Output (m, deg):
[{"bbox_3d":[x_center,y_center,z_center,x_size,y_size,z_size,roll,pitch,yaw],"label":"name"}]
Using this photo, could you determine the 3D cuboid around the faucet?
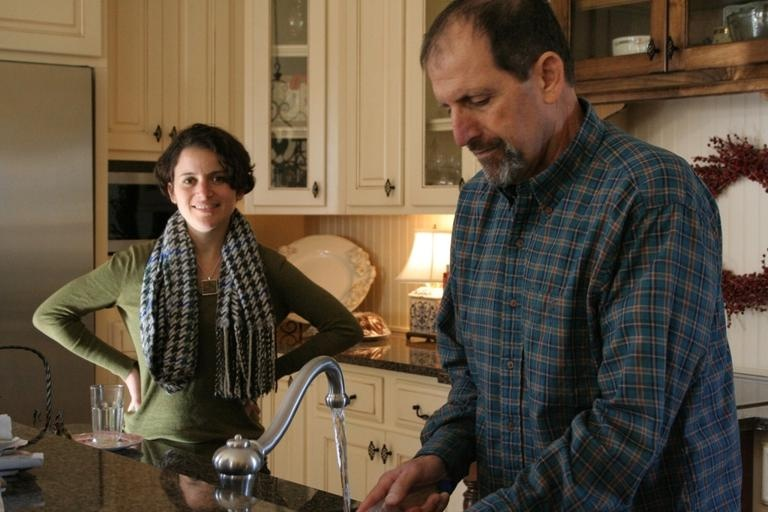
[{"bbox_3d":[-0.205,0.350,1.486,0.281,0.294,0.186,-2,4,-20],"label":"faucet"}]

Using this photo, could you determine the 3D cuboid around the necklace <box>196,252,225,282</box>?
[{"bbox_3d":[-0.591,0.038,2.497,0.092,0.114,0.015,-1,-24,-8],"label":"necklace"}]
